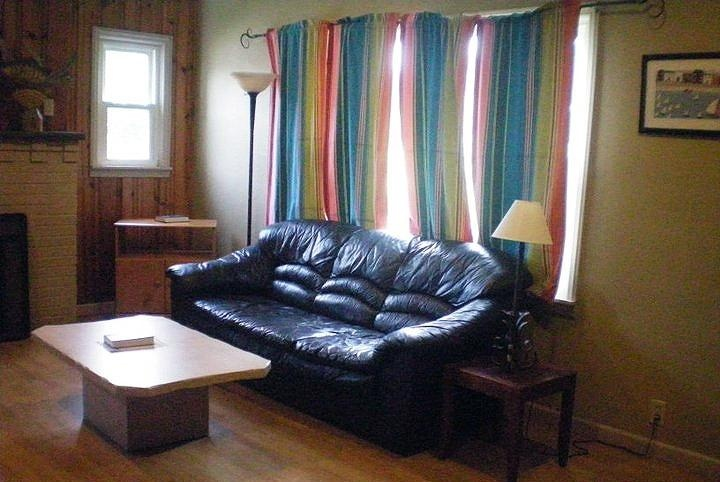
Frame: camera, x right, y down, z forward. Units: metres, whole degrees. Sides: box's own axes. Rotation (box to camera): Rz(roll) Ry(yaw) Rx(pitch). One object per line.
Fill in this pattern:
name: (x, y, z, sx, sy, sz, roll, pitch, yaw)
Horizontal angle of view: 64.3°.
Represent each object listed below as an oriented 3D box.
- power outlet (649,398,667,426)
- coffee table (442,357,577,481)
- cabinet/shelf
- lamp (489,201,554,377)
power outlet: (1.794, 1.018, 3.432, 0.085, 0.140, 0.033, 6, 13, 25)
coffee table: (0.842, 1.012, 3.476, 0.753, 0.619, 0.718, -7, 14, -41)
cabinet/shelf: (-1.765, 0.253, 5.078, 1.076, 0.814, 0.513, -1, 2, -26)
lamp: (0.971, 0.217, 3.434, 0.326, 0.931, 0.670, 6, 12, 24)
